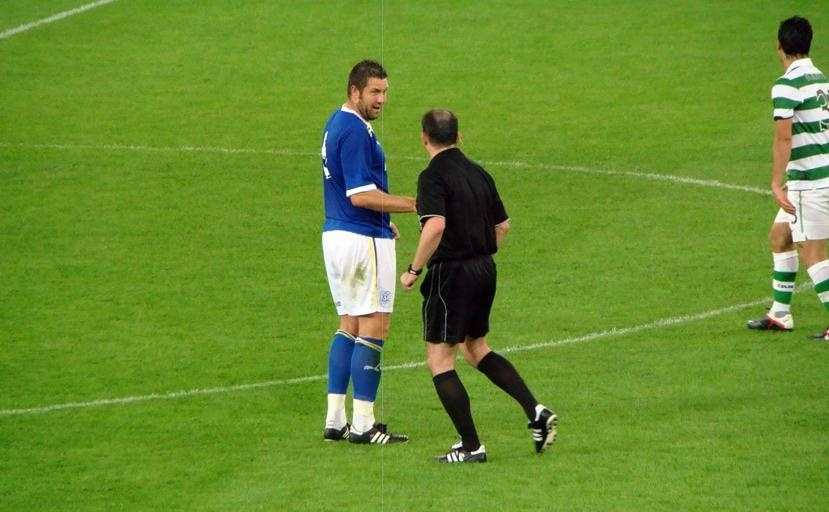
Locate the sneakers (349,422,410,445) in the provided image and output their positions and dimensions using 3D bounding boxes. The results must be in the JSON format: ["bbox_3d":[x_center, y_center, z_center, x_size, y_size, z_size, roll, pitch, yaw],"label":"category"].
[{"bbox_3d":[-0.409,2.056,17.463,0.702,0.214,0.237,-1,-1,-5],"label":"sneakers"}]

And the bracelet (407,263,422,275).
[{"bbox_3d":[-0.008,0.163,16.969,0.136,0.058,0.110,4,9,8],"label":"bracelet"}]

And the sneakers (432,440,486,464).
[{"bbox_3d":[0.555,2.260,17.255,0.679,0.242,0.213,1,-5,9],"label":"sneakers"}]

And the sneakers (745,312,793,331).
[{"bbox_3d":[4.537,0.836,19.268,0.619,0.221,0.212,4,3,21],"label":"sneakers"}]
